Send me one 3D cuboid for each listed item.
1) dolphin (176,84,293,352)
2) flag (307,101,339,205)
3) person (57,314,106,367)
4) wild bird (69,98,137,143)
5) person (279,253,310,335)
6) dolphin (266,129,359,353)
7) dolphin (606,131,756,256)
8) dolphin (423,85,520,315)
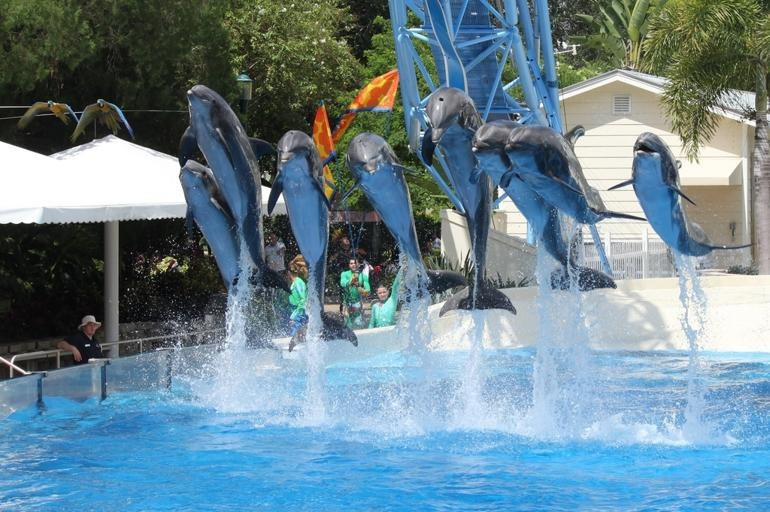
[{"bbox_3d":[-2.764,-0.640,17.853,1.401,4.035,2.463,1,-3,-15],"label":"dolphin"},{"bbox_3d":[-1.308,-2.286,23.880,0.578,2.541,0.262,12,-30,-38],"label":"flag"},{"bbox_3d":[-5.188,1.833,18.559,0.740,1.507,0.461,-3,-2,-29],"label":"person"},{"bbox_3d":[-5.184,-2.601,19.632,0.991,0.597,0.672,0,4,3],"label":"wild bird"},{"bbox_3d":[-1.724,1.103,20.625,0.411,2.185,0.683,-2,15,-20],"label":"person"},{"bbox_3d":[-1.312,-0.314,17.718,0.827,3.365,1.476,-4,-5,15],"label":"dolphin"},{"bbox_3d":[6.850,-1.512,24.741,1.833,3.424,7.620,1,1,-11],"label":"dolphin"},{"bbox_3d":[1.231,-0.546,17.984,1.201,4.358,1.749,1,30,15],"label":"dolphin"}]
